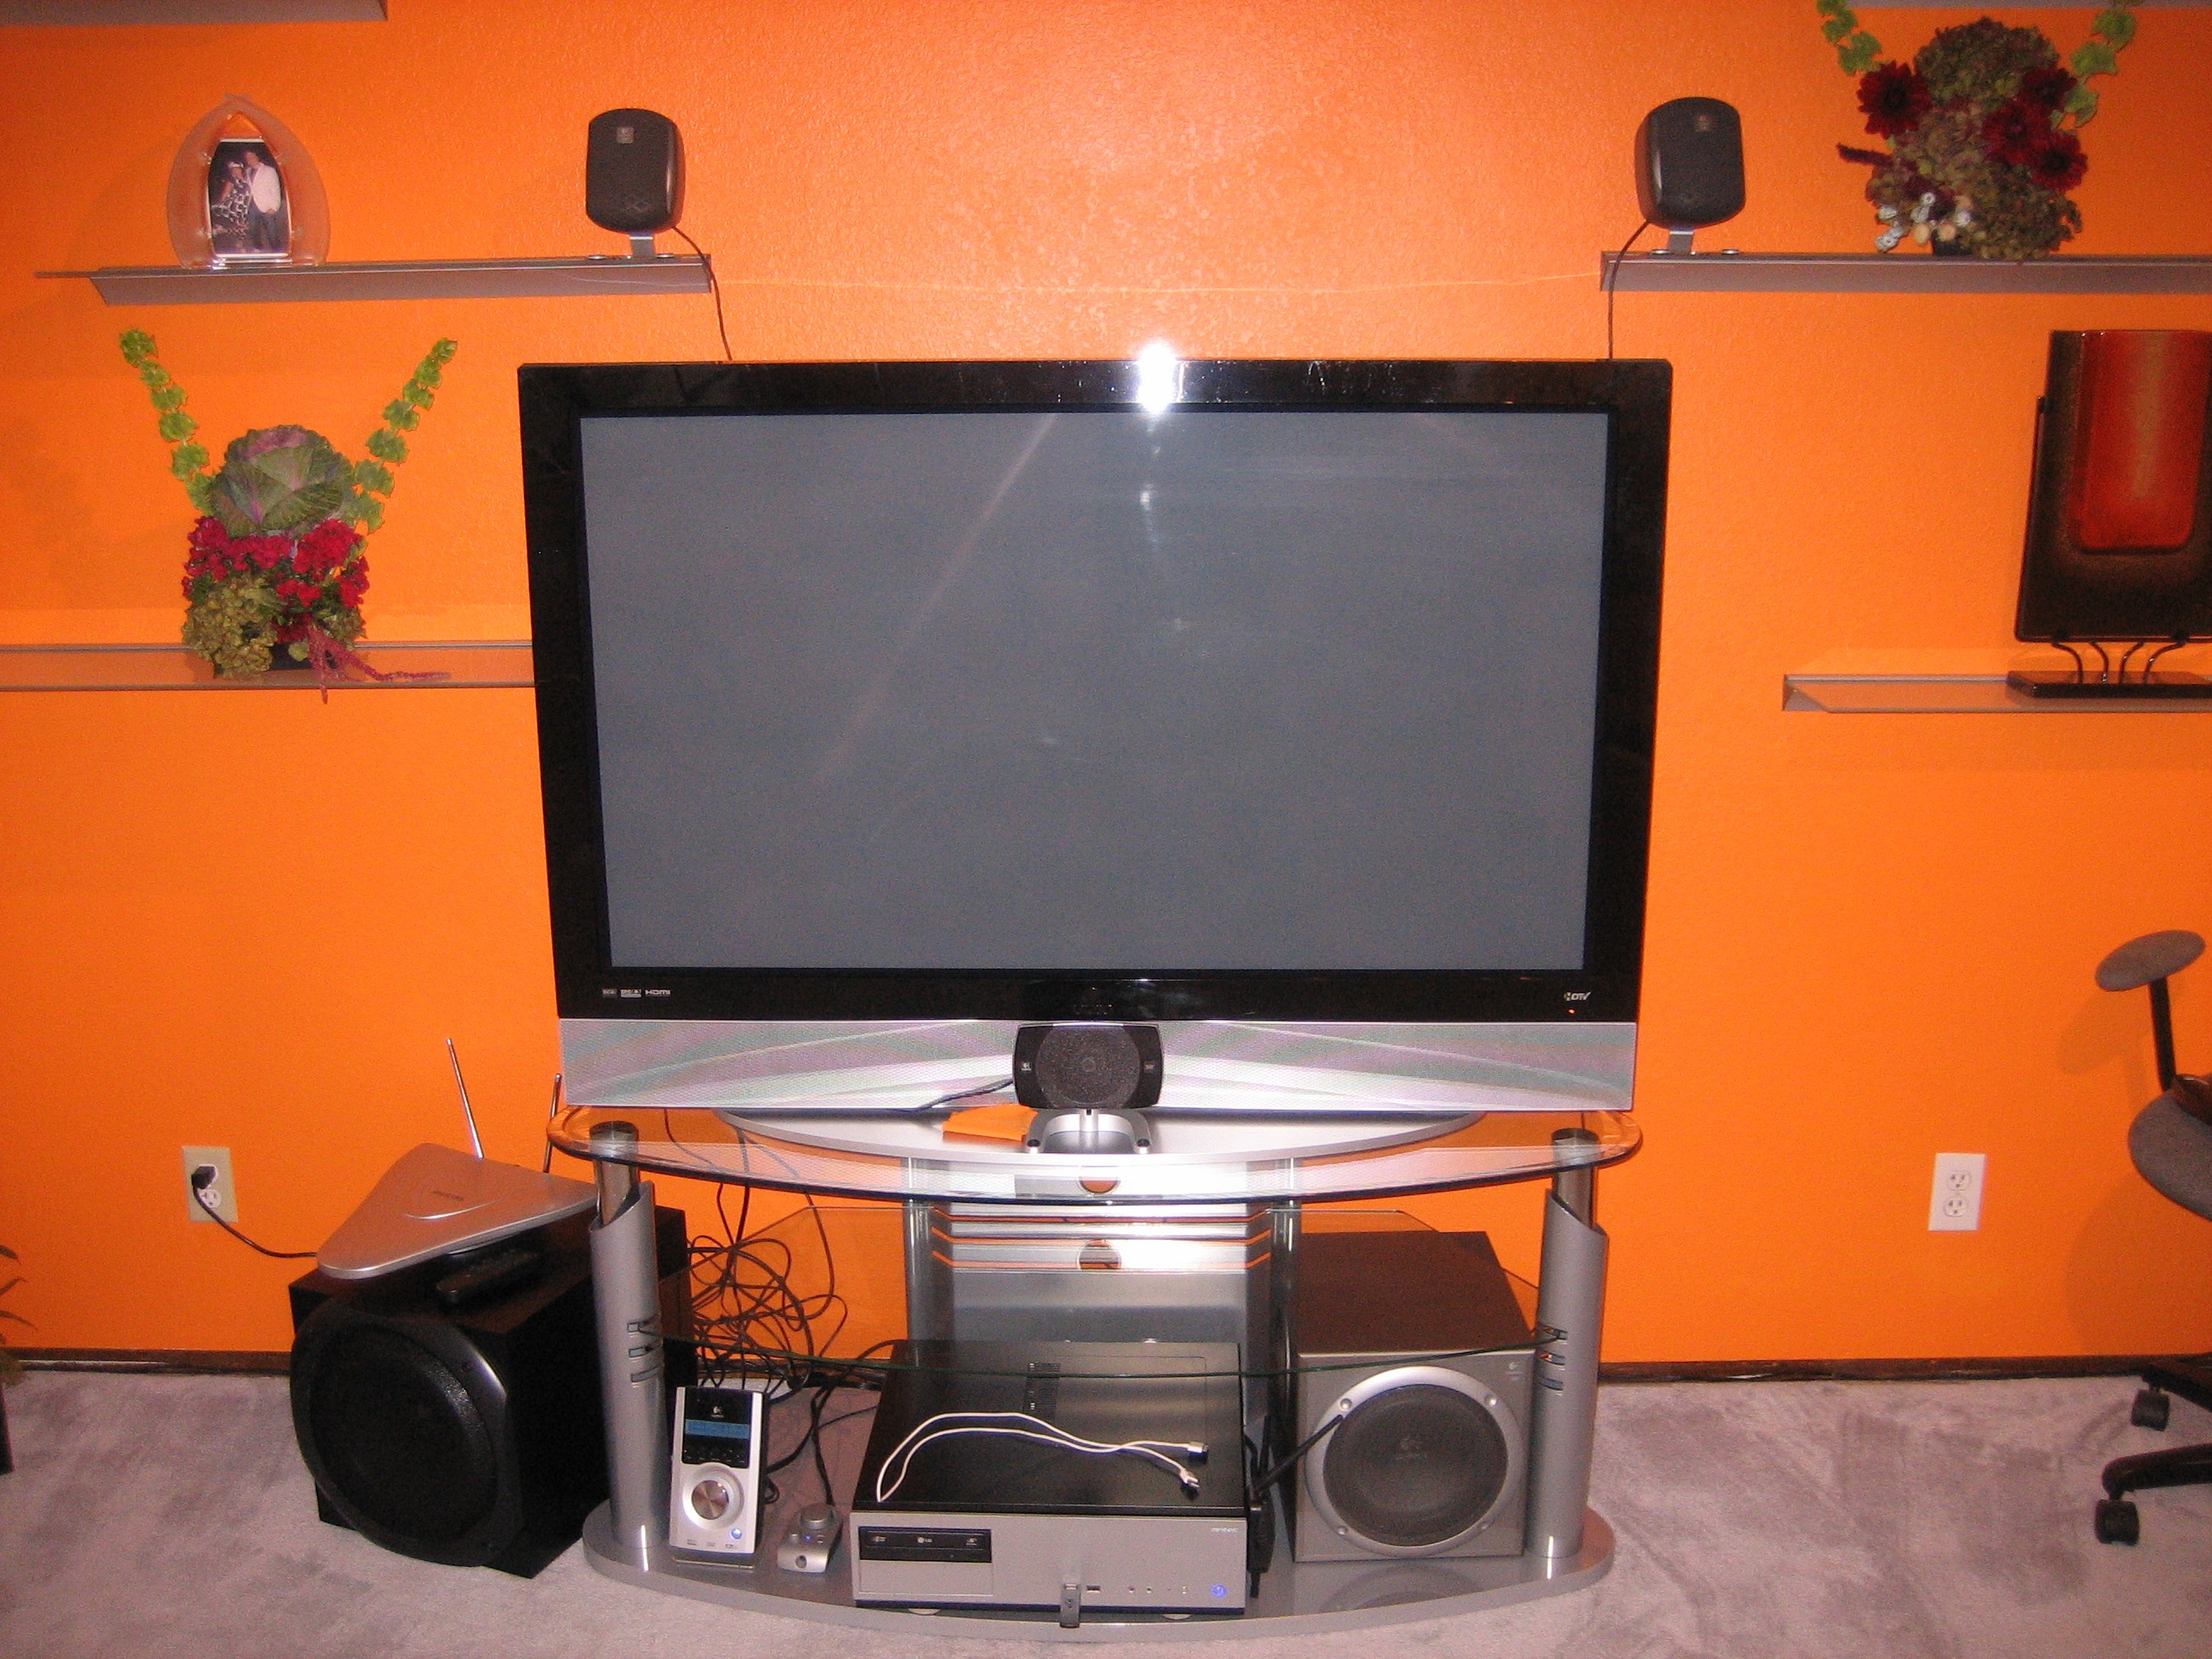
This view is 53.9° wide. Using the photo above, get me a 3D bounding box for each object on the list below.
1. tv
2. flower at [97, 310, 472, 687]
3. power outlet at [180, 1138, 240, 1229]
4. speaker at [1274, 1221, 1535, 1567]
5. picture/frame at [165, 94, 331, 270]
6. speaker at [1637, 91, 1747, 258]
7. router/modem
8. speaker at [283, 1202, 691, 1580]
[{"bbox_3d":[0.002,-0.141,3.502,1.430,0.928,0.185,0,8,1],"label":"tv"},{"bbox_3d":[-1.435,-0.584,3.863,0.584,0.607,0.357,-4,15,-8],"label":"flower"},{"bbox_3d":[-1.710,0.680,4.164,0.105,0.151,0.030,0,16,8],"label":"power outlet"},{"bbox_3d":[0.503,0.957,3.784,0.412,0.386,0.531,1,20,-1],"label":"speaker"},{"bbox_3d":[-1.476,-1.110,3.748,0.352,0.338,0.203,-3,9,-16],"label":"picture/frame"},{"bbox_3d":[0.971,-1.108,3.633,0.158,0.211,0.073,-1,15,5],"label":"speaker"},{"bbox_3d":[-1.123,0.589,3.694,0.288,0.134,0.298,10,5,23],"label":"router/modem"},{"bbox_3d":[-1.063,0.968,3.914,0.611,0.538,0.646,7,23,23],"label":"speaker"}]
